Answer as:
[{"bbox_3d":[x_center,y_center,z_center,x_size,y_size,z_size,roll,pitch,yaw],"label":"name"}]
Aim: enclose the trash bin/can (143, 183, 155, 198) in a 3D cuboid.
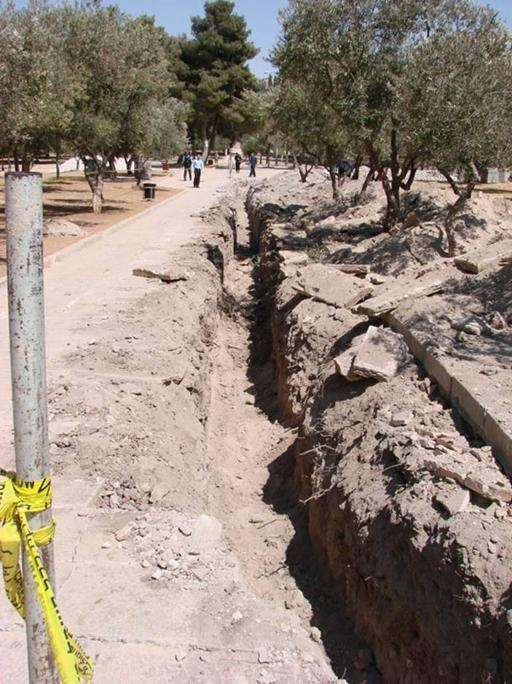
[{"bbox_3d":[-4.281,-6.126,24.188,0.407,0.686,0.395,0,10,2],"label":"trash bin/can"}]
